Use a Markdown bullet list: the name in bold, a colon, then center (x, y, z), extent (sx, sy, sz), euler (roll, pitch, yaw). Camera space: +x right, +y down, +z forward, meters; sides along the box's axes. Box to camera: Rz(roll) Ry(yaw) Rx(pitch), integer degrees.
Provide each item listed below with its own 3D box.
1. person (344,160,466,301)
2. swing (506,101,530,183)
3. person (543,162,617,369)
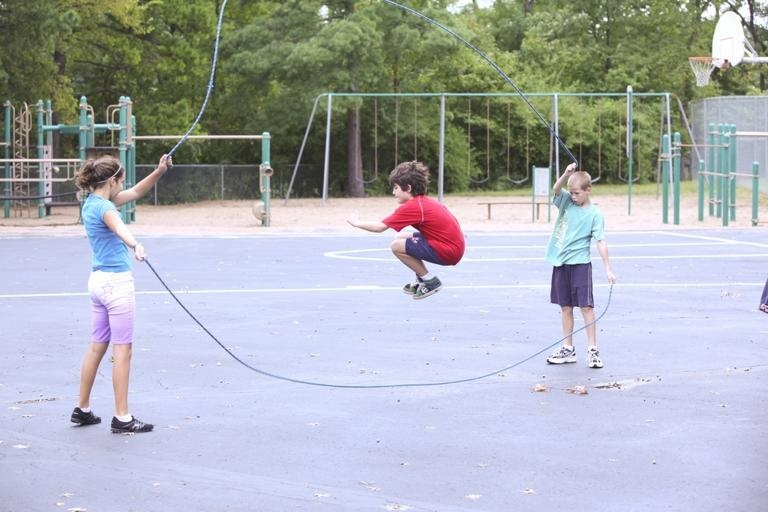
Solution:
- **person**: center (0.525, -0.375, 18.097), extent (1.368, 2.151, 1.317), euler (0, 2, 9)
- **swing**: center (6.647, -5.435, 57.309), extent (1.045, 3.774, 2.612), euler (0, 2, 7)
- **person**: center (3.099, 0.151, 17.754), extent (0.732, 3.022, 1.308), euler (-1, 3, -38)
